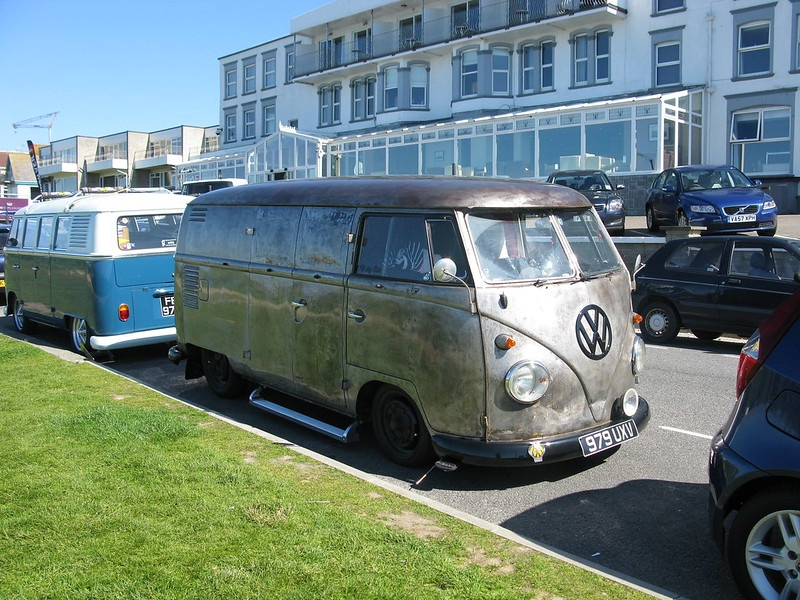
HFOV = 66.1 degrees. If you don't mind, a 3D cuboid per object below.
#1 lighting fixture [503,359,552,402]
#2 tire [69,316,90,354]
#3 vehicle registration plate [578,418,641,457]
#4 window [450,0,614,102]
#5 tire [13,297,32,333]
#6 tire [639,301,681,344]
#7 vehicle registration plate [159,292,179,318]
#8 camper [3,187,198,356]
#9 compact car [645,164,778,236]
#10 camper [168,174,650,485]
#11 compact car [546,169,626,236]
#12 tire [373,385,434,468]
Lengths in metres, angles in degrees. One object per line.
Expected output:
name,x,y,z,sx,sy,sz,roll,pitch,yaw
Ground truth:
lighting fixture,1.140,0.697,5.568,0.352,0.391,0.353,6,0,-1
tire,-5.610,0.587,10.771,0.182,0.608,0.564,-4,8,-37
vehicle registration plate,1.972,1.269,5.732,0.814,0.208,0.105,-3,7,-34
window,7.325,-13.142,32.577,8.146,5.409,0.862,2,-1,37
tire,-8.015,0.290,13.071,0.705,0.766,0.234,1,1,42
tire,4.860,0.388,11.447,0.255,0.846,0.713,-2,4,-41
vehicle registration plate,-3.808,0.068,10.113,0.019,0.405,0.364,3,11,39
camper,-5.800,-0.830,12.131,2.539,2.817,4.922,-7,15,-40
compact car,8.796,-2.881,17.288,2.417,1.976,3.029,2,6,1
camper,-0.105,0.062,7.324,2.565,2.637,5.424,-7,9,-43
compact car,6.223,-3.575,20.247,2.495,1.859,4.924,0,2,10
tire,0.058,1.206,5.984,0.275,0.823,0.760,-6,9,-42
